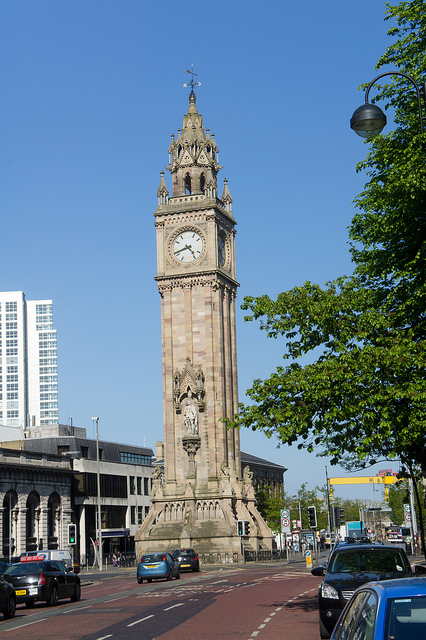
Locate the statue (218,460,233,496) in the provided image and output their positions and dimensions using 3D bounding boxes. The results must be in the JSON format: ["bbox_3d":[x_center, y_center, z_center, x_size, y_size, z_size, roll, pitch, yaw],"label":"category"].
[{"bbox_3d":[0.807,10.670,68.052,0.732,2.155,1.415,8,-10,-18],"label":"statue"}]

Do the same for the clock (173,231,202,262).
[{"bbox_3d":[-1.819,-5.266,73.804,2.205,2.180,0.236,9,-19,29],"label":"clock"}]

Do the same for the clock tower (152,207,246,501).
[{"bbox_3d":[-1.172,2.905,72.713,5.733,22.085,1.369,-4,-12,-5],"label":"clock tower"}]

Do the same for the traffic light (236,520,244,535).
[{"bbox_3d":[1.595,11.965,58.283,0.408,0.753,1.044,4,-10,3],"label":"traffic light"}]

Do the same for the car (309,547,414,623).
[{"bbox_3d":[2.638,4.504,18.126,1.733,1.229,3.126,-3,-16,1],"label":"car"}]

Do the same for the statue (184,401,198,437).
[{"bbox_3d":[-1.470,6.910,69.462,1.020,2.325,0.597,5,-10,-2],"label":"statue"}]

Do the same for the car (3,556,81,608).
[{"bbox_3d":[-5.259,8.008,31.009,1.211,1.068,3.041,-3,-8,13],"label":"car"}]

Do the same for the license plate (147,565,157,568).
[{"bbox_3d":[-2.518,10.125,41.577,0.392,0.124,0.061,4,-10,4],"label":"license plate"}]

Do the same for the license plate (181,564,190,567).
[{"bbox_3d":[-1.414,12.536,51.614,0.470,0.164,0.169,-3,-13,38],"label":"license plate"}]

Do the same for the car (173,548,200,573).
[{"bbox_3d":[-1.362,12.717,52.882,1.266,1.000,2.719,0,-1,-1],"label":"car"}]

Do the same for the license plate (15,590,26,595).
[{"bbox_3d":[-5.623,7.977,29.634,0.296,0.141,0.103,7,-10,-11],"label":"license plate"}]
